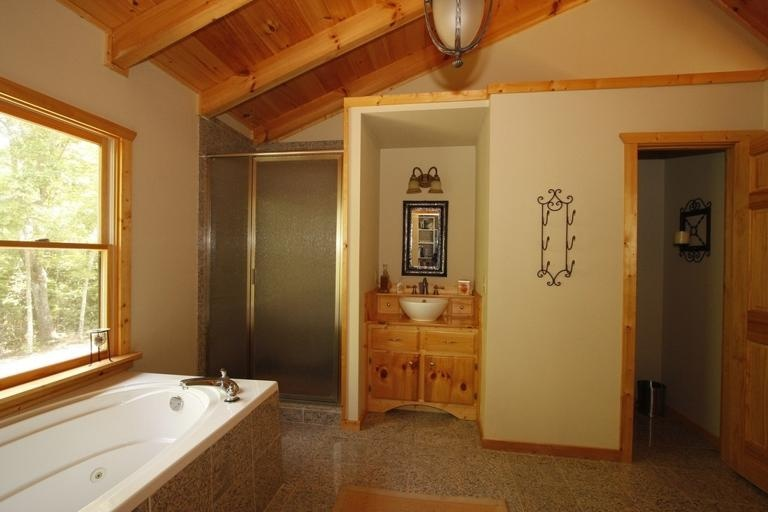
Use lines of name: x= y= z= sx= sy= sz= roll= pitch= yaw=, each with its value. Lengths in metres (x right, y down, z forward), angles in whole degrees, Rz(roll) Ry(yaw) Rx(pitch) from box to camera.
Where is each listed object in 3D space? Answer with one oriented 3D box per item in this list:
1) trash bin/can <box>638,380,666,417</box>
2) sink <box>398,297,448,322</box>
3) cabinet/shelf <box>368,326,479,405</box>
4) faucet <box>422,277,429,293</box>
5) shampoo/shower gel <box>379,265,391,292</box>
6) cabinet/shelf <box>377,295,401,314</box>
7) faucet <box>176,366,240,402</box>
trash bin/can: x=2.615 y=1.398 z=5.423 sx=0.240 sy=0.315 sz=0.416 roll=2 pitch=3 yaw=25
sink: x=0.413 y=0.540 z=5.743 sx=0.467 sy=0.222 sz=0.371 roll=1 pitch=3 yaw=9
cabinet/shelf: x=0.443 y=1.073 z=5.524 sx=0.789 sy=0.596 sz=0.296 roll=0 pitch=-3 yaw=7
faucet: x=0.456 y=0.309 z=6.112 sx=0.068 sy=0.168 sz=0.186 roll=1 pitch=2 yaw=4
shampoo/shower gel: x=0.013 y=0.233 z=6.170 sx=0.126 sy=0.281 sz=0.275 roll=1 pitch=2 yaw=-1
cabinet/shelf: x=0.064 y=0.504 z=6.019 sx=0.315 sy=0.263 sz=0.180 roll=0 pitch=-5 yaw=4
faucet: x=-1.400 y=1.029 z=4.511 sx=0.443 sy=0.232 sz=0.251 roll=1 pitch=-7 yaw=6
